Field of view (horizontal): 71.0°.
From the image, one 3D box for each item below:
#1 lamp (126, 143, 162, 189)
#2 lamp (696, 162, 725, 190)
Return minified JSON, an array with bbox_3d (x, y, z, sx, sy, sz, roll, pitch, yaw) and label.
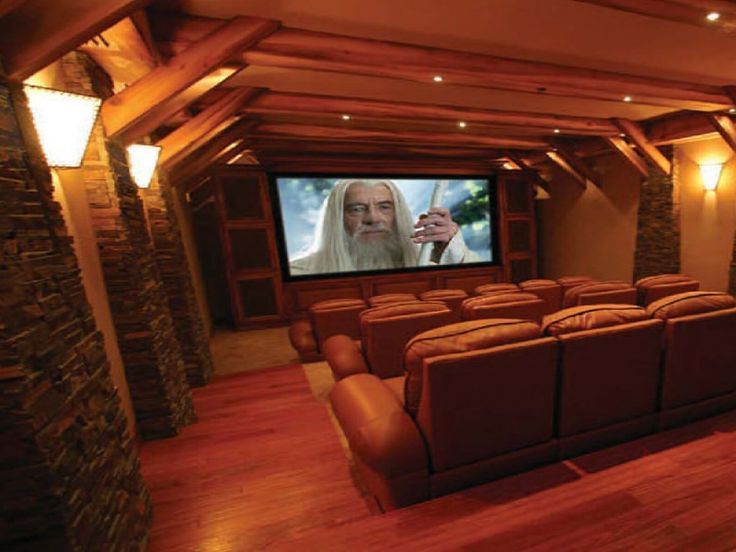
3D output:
[{"bbox_3d":[-1.641,-0.809,3.735,0.141,0.297,0.272,-5,7,23],"label":"lamp"},{"bbox_3d":[4.000,-1.158,5.991,0.157,0.325,0.260,-14,10,-42],"label":"lamp"}]
